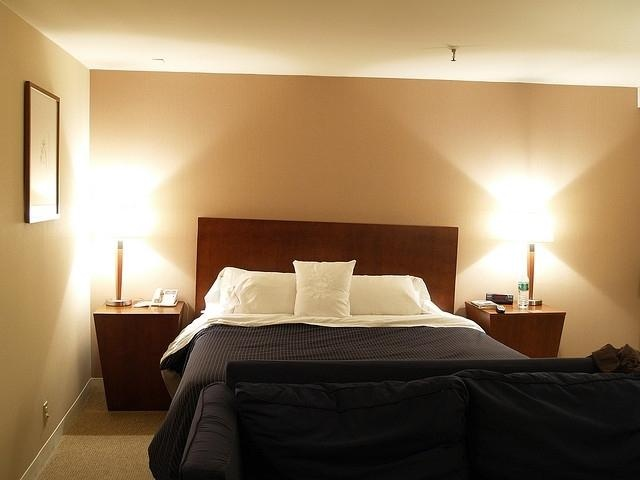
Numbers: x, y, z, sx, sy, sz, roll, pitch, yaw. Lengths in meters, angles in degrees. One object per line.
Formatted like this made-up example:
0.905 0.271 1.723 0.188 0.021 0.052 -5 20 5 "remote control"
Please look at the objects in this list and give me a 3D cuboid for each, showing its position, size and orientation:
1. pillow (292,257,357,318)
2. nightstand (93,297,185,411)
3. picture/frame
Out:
0.026 0.421 4.173 0.488 0.504 0.181 -2 -10 7 "pillow"
-1.685 1.150 4.251 0.681 0.832 0.582 7 -41 -37 "nightstand"
-1.951 -0.590 3.455 0.098 0.997 0.516 2 -1 -11 "picture/frame"
